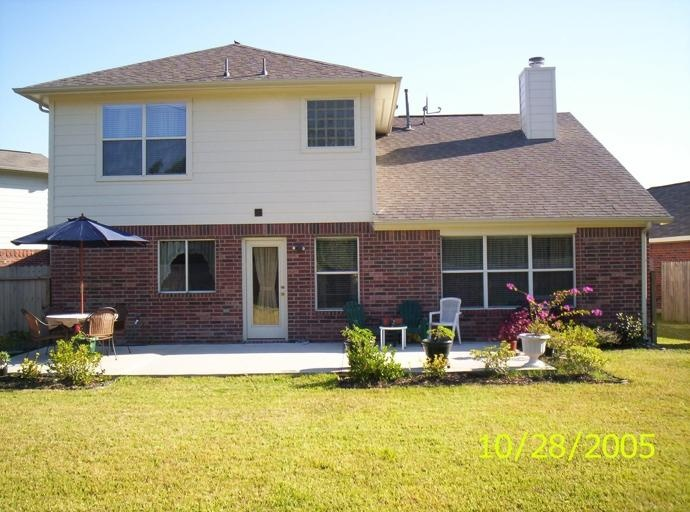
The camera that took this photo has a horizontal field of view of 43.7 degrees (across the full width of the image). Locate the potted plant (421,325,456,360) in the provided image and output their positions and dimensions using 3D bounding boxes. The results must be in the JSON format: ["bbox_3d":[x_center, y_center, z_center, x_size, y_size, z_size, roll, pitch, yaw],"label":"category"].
[{"bbox_3d":[2.136,2.027,19.367,0.707,0.759,0.798,4,-4,5],"label":"potted plant"}]

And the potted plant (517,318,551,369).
[{"bbox_3d":[4.284,1.972,19.512,0.742,1.111,0.748,0,-1,-8],"label":"potted plant"}]

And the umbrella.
[{"bbox_3d":[-6.513,-0.056,21.275,2.917,1.944,2.825,1,5,21],"label":"umbrella"}]
